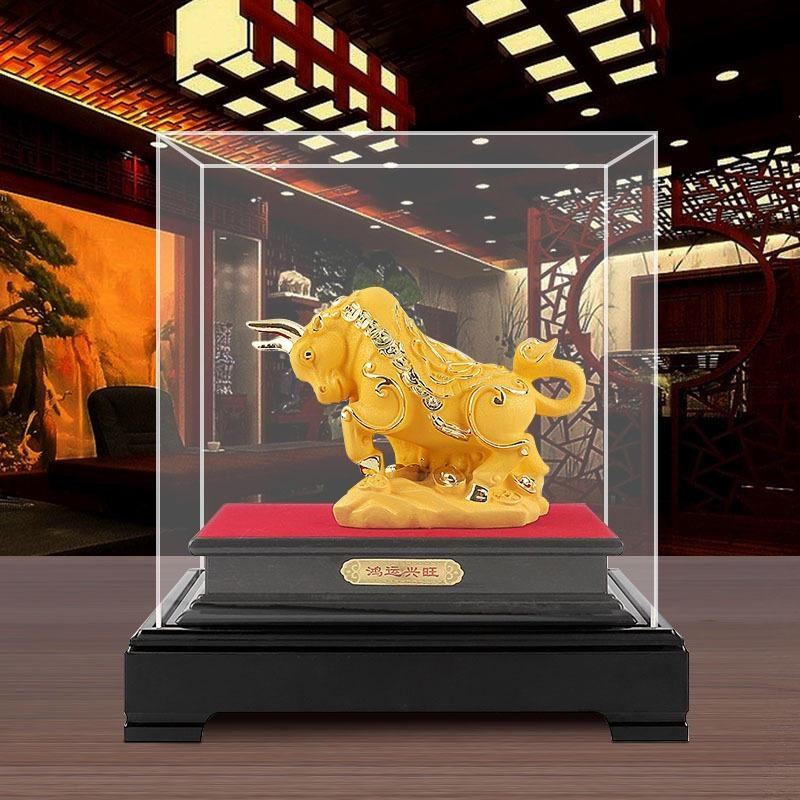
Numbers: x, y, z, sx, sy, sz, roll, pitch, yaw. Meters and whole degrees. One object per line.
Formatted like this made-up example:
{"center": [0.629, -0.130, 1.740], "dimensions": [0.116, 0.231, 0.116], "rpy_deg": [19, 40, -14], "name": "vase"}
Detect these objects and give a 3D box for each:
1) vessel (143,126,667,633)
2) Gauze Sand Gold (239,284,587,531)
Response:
{"center": [0.067, -0.082, 2.731], "dimensions": [1.659, 1.106, 1.335], "rpy_deg": [-1, 1, -2], "name": "vessel"}
{"center": [0.031, 0.014, 2.179], "dimensions": [0.814, 0.569, 0.257], "rpy_deg": [3, 15, 8], "name": "Gauze Sand Gold"}
